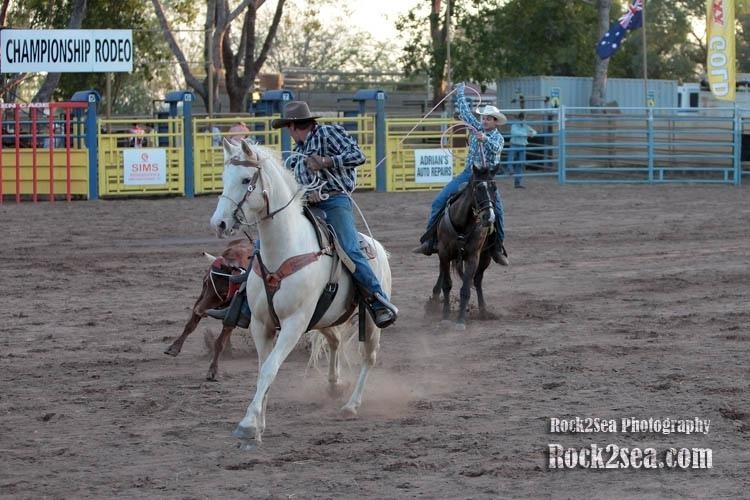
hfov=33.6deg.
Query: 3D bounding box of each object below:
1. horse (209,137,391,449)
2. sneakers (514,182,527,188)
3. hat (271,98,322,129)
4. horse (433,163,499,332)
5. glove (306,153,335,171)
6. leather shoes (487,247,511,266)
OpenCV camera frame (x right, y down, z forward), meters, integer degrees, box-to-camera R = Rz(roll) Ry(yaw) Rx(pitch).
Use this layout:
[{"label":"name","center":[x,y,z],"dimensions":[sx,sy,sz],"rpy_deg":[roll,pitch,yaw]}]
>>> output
[{"label":"horse","center":[-1.207,0.539,19.217],"dimensions":[1.078,4.518,2.708],"rpy_deg":[3,8,44]},{"label":"sneakers","center":[4.447,-1.992,38.329],"dimensions":[0.383,0.240,0.133],"rpy_deg":[-10,29,-23]},{"label":"hat","center":[-1.349,-2.109,19.646],"dimensions":[0.581,0.214,0.499],"rpy_deg":[-11,1,24]},{"label":"horse","center":[1.675,-0.132,22.987],"dimensions":[1.205,2.834,1.699],"rpy_deg":[-3,6,-11]},{"label":"glove","center":[-0.868,-1.376,19.417],"dimensions":[0.328,0.140,0.248],"rpy_deg":[5,-1,-38]},{"label":"leather shoes","center":[2.342,0.130,23.639],"dimensions":[0.287,0.196,0.369],"rpy_deg":[-2,-33,31]}]
